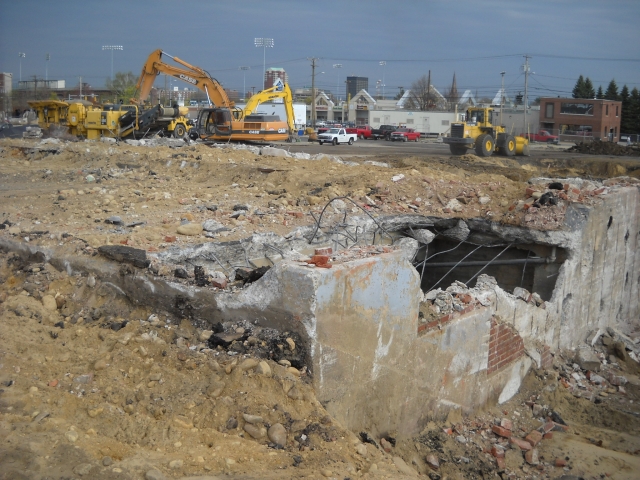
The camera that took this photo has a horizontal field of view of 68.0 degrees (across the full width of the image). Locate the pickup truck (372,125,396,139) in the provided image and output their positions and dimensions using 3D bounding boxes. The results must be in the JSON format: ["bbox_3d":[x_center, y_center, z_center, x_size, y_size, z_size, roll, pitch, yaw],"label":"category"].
[{"bbox_3d":[5.590,-9.382,41.230,1.071,0.933,1.806,3,16,12],"label":"pickup truck"}]

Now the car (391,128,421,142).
[{"bbox_3d":[7.216,-8.735,39.744,1.191,0.885,2.449,6,11,35],"label":"car"}]

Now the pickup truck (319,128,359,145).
[{"bbox_3d":[1.173,-6.947,31.654,3.084,1.199,0.921,-5,12,-40],"label":"pickup truck"}]

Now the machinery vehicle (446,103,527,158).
[{"bbox_3d":[8.383,-5.457,23.730,3.877,2.524,1.913,-4,11,-34],"label":"machinery vehicle"}]

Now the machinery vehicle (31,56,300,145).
[{"bbox_3d":[-7.094,-6.743,22.376,11.455,4.208,2.778,3,9,3],"label":"machinery vehicle"}]
